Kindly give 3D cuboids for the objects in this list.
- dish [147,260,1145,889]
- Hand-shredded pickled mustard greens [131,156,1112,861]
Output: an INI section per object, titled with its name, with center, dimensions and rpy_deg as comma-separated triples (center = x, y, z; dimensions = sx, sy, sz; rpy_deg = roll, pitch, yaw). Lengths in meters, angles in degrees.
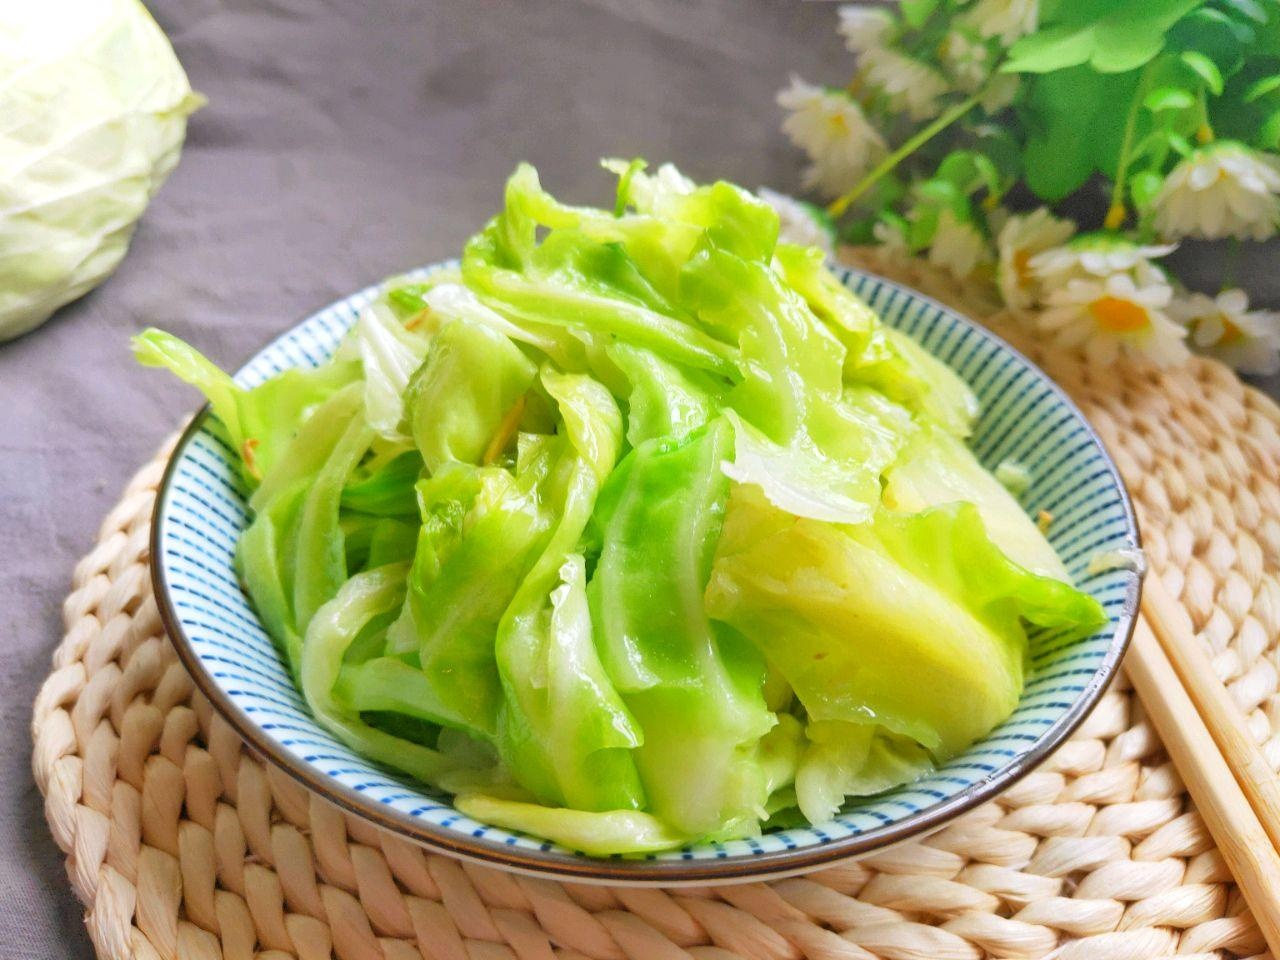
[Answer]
[dish]
center = -0.029, 0.267, 1.495
dimensions = 0.926, 0.221, 0.939
rpy_deg = 11, 45, 7
[Hand-shredded pickled mustard greens]
center = -0.037, 0.064, 1.959
dimensions = 1.148, 0.934, 1.027
rpy_deg = -1, 31, -3
